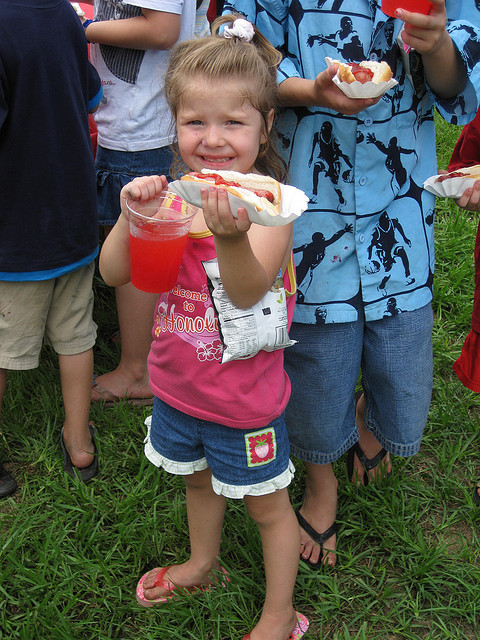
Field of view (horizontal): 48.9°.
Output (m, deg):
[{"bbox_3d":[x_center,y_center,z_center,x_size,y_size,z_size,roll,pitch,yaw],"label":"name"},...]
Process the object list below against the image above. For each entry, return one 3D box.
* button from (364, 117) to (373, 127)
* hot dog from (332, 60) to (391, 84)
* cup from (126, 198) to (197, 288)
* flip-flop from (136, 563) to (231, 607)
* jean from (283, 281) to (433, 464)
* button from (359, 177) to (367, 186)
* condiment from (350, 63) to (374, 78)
[{"bbox_3d":[0.325,-0.501,1.328,0.024,0.021,0.004,-14,40,-13],"label":"button"},{"bbox_3d":[0.269,-0.541,1.148,0.101,0.043,0.090,9,11,43],"label":"hot dog"},{"bbox_3d":[-0.173,-0.165,1.178,0.154,0.204,0.131,-17,39,-34],"label":"cup"},{"bbox_3d":[-0.177,0.805,1.603,0.301,0.104,0.117,-2,38,2],"label":"flip-flop"},{"bbox_3d":[0.365,0.175,1.606,0.461,0.605,0.210,-3,39,2],"label":"jean"},{"bbox_3d":[0.321,-0.366,1.380,0.022,0.020,0.005,-2,8,-18],"label":"button"},{"bbox_3d":[0.271,-0.549,1.161,0.048,0.015,0.045,-1,21,9],"label":"condiment"}]
